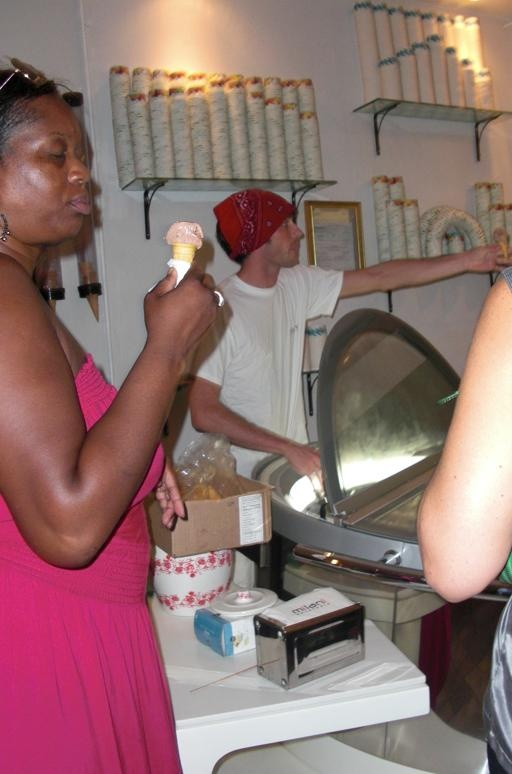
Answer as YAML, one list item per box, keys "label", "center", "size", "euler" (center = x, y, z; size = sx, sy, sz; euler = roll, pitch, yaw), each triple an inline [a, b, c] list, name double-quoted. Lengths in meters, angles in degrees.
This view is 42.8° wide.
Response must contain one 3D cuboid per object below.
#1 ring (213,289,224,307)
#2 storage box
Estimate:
- label: "ring"
  center: [-0.037, -0.091, 0.673]
  size: [0.006, 0.017, 0.016]
  euler: [-8, 9, -21]
- label: "storage box"
  center: [-0.074, 0.215, 1.137]
  size: [0.158, 0.085, 0.151]
  euler: [-2, -1, -28]
